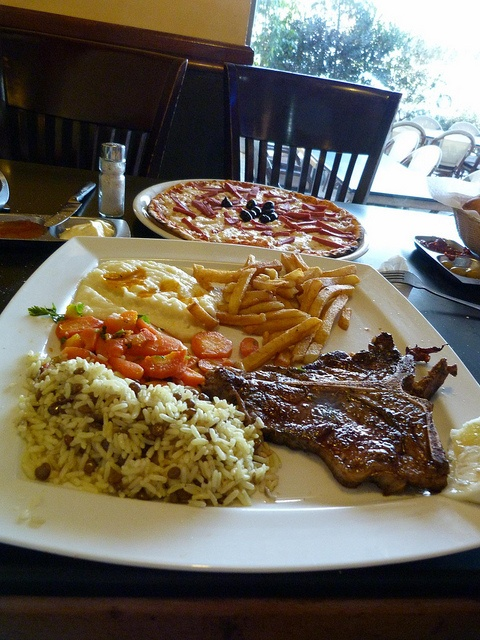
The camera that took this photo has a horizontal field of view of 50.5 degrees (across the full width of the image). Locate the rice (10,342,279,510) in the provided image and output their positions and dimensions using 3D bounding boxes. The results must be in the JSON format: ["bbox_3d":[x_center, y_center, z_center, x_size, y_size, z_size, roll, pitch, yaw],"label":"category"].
[{"bbox_3d":[-0.234,0.290,1.338,0.626,0.210,0.346,11,7,-12],"label":"rice"}]

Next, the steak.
[{"bbox_3d":[0.297,0.225,1.664,0.883,0.319,0.627,-8,19,-24],"label":"steak"}]

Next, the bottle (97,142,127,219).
[{"bbox_3d":[-0.646,-0.707,2.626,0.139,0.380,0.145,8,25,-4],"label":"bottle"}]
